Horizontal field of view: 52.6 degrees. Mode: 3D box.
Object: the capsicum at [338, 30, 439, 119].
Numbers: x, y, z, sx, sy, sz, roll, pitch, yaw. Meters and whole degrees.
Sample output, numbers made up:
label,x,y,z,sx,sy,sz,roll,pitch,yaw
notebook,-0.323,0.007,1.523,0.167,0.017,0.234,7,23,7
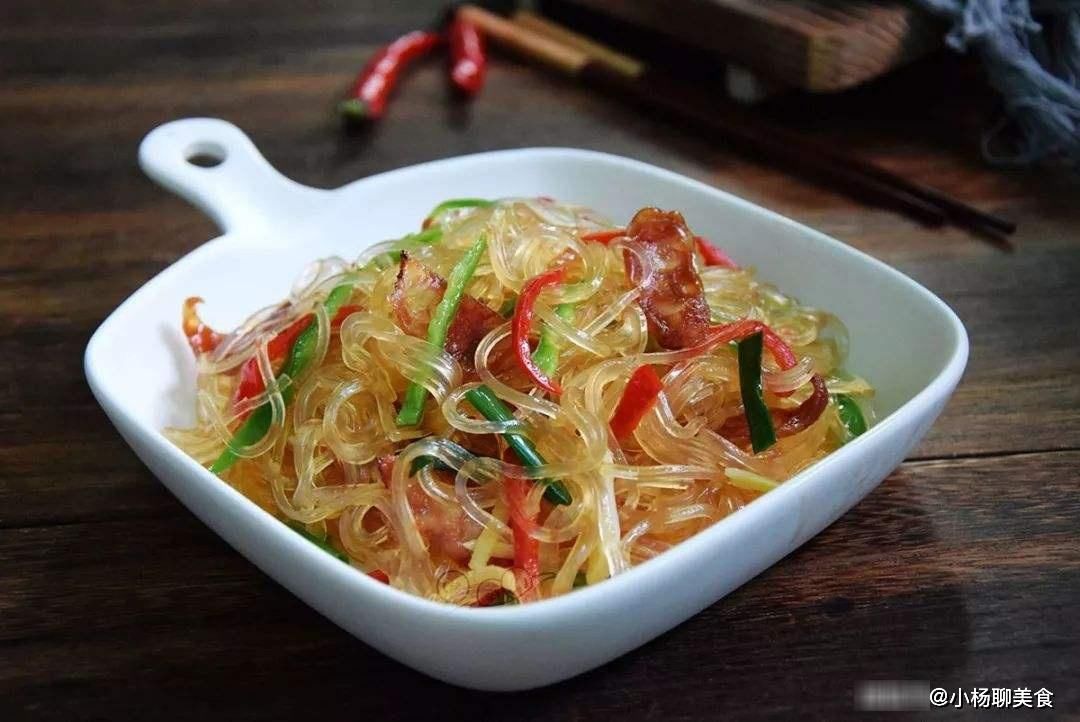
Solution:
label,x,y,z,sx,sy,sz,roll,pitch,yaw
capsicum,-0.471,-0.927,3.529,0.160,0.125,0.530,19,39,6
